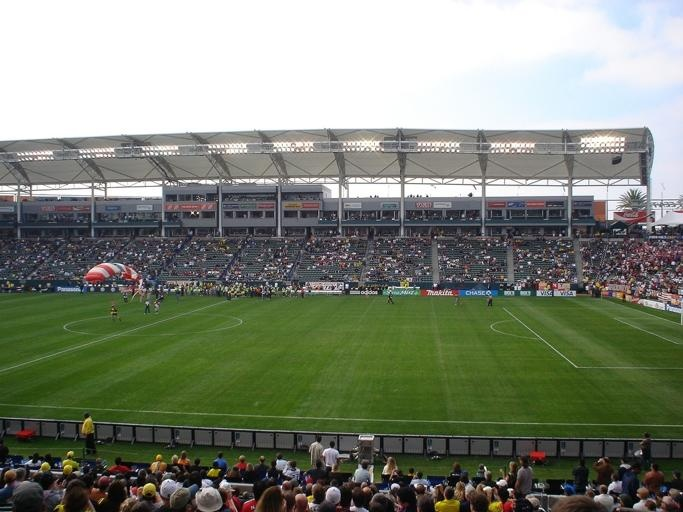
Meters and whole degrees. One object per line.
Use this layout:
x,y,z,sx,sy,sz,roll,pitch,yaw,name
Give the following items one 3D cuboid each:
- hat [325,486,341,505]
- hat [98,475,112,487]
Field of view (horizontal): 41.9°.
-0.510,12.612,47.064,0.725,0.878,1.096,0,10,10,hat
-12.623,12.021,47.931,0.563,0.493,0.622,7,21,-7,hat
